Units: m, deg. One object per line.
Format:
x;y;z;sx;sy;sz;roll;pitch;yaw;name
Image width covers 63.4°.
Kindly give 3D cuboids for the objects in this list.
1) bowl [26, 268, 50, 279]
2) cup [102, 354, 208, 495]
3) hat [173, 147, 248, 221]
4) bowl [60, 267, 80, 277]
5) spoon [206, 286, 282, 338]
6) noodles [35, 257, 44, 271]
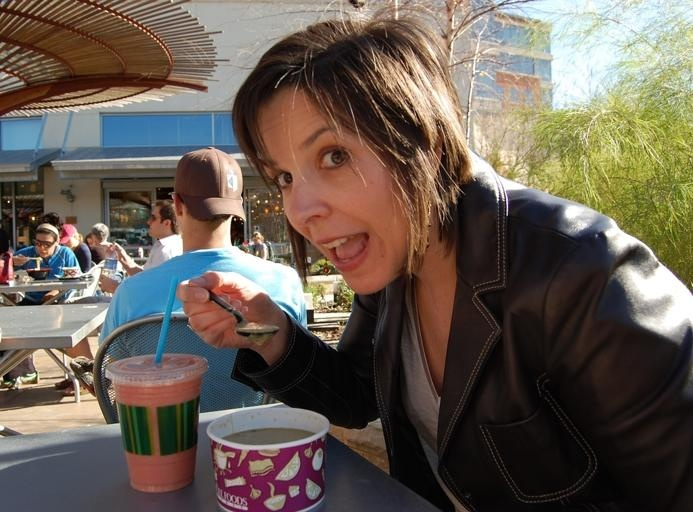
-3.392;0.192;6.145;0.133;0.070;0.143;3;2;0;bowl
-0.400;0.378;1.320;0.230;0.288;0.250;-2;-6;0;cup
-0.621;-0.344;2.568;0.233;0.221;0.365;1;17;-34;hat
-2.990;0.174;6.060;0.113;0.064;0.129;4;-3;39;bowl
-0.260;0.147;1.410;0.075;0.052;0.281;3;22;-40;spoon
-3.582;0.087;6.520;0.111;0.144;0.118;-1;-4;-9;noodles
